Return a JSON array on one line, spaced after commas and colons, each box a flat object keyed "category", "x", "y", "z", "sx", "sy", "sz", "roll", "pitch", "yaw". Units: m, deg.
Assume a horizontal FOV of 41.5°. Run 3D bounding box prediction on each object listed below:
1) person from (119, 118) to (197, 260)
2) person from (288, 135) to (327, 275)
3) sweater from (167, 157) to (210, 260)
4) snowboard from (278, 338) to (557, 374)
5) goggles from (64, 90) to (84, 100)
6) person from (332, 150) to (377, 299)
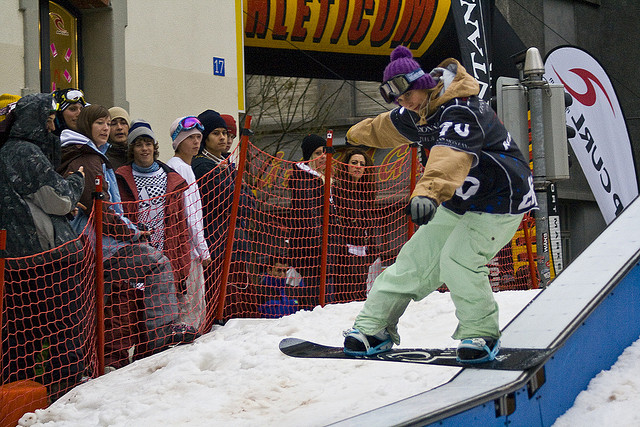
[{"category": "person", "x": -1.733, "y": 0.004, "z": 8.972, "sx": 0.710, "sy": 2.106, "sz": 0.574, "roll": -6, "pitch": 30, "yaw": -12}, {"category": "person", "x": -0.152, "y": -0.128, "z": 9.850, "sx": 0.406, "sy": 1.434, "sz": 1.228, "roll": 3, "pitch": 12, "yaw": -1}, {"category": "sweater", "x": -1.369, "y": -0.053, "z": 8.846, "sx": 0.373, "sy": 0.933, "sz": 0.775, "roll": -1, "pitch": 12, "yaw": -20}, {"category": "snowboard", "x": 0.874, "y": 1.279, "z": 7.493, "sx": 2.155, "sy": 0.117, "sz": 0.392, "roll": 0, "pitch": 9, "yaw": 27}, {"category": "goggles", "x": -2.559, "y": -1.239, "z": 8.815, "sx": 0.117, "sy": 0.093, "sz": 0.250, "roll": 8, "pitch": 13, "yaw": 21}, {"category": "person", "x": 0.408, "y": 0.197, "z": 10.084, "sx": 0.589, "sy": 2.409, "sz": 0.553, "roll": 3, "pitch": 30, "yaw": 5}]
